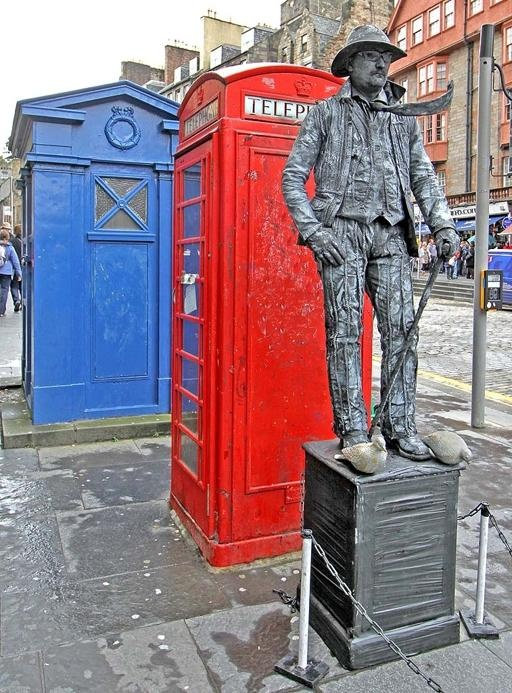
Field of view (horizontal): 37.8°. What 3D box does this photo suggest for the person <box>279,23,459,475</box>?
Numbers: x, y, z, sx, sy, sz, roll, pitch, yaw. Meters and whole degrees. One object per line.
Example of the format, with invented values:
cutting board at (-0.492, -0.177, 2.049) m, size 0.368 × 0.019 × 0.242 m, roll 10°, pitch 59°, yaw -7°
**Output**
person at (0.545, -0.449, 3.361) m, size 0.745 × 1.866 × 0.663 m, roll -4°, pitch 10°, yaw -38°
